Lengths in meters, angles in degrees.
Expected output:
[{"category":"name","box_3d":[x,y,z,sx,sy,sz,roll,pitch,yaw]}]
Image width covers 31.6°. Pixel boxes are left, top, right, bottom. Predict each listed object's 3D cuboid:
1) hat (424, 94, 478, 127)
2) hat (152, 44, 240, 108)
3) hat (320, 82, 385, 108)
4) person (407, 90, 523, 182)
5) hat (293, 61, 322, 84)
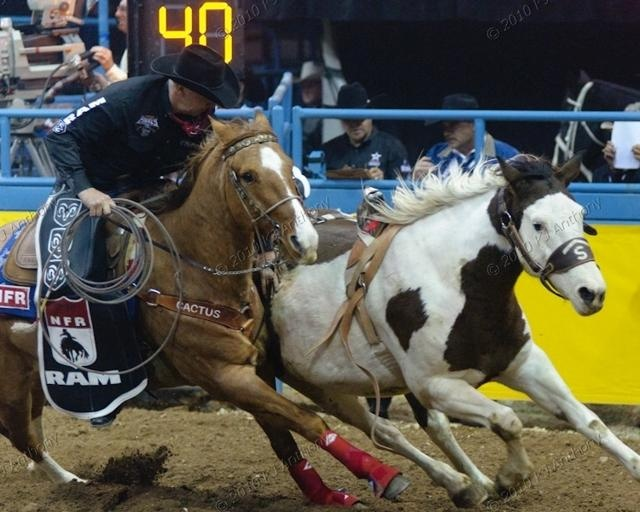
[{"category":"hat","box_3d":[1.009,-1.165,8.908,0.497,0.217,0.287,1,0,5]},{"category":"hat","box_3d":[-0.775,-1.137,7.083,0.553,0.376,0.357,1,18,-6]},{"category":"hat","box_3d":[0.288,-1.510,10.561,0.566,0.192,0.591,-1,6,7]},{"category":"person","box_3d":[1.061,-0.921,8.301,0.721,0.459,0.965,2,-4,-3]},{"category":"hat","box_3d":[-0.115,-1.825,11.232,0.262,0.088,0.219,-21,2,-38]}]
